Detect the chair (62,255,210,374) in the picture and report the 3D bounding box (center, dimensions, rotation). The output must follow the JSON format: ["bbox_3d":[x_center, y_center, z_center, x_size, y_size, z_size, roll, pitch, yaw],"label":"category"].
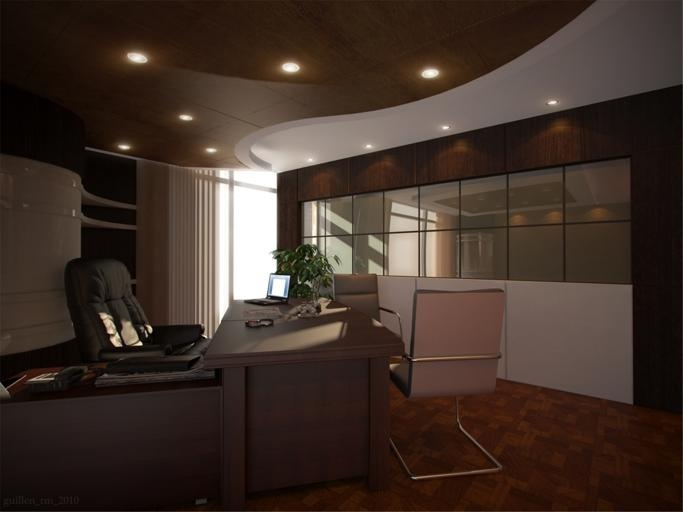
[{"bbox_3d":[-1.772,0.637,4.347,1.059,1.308,0.901,-2,2,5],"label":"chair"}]

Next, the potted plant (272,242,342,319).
[{"bbox_3d":[-0.496,0.314,6.545,0.757,0.996,0.951,-2,-1,28],"label":"potted plant"}]

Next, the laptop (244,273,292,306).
[{"bbox_3d":[-0.819,0.343,5.227,0.423,0.322,0.528,-2,2,-28],"label":"laptop"}]

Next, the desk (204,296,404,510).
[{"bbox_3d":[-0.360,1.089,3.788,1.029,0.925,1.966,1,-1,-11],"label":"desk"}]
